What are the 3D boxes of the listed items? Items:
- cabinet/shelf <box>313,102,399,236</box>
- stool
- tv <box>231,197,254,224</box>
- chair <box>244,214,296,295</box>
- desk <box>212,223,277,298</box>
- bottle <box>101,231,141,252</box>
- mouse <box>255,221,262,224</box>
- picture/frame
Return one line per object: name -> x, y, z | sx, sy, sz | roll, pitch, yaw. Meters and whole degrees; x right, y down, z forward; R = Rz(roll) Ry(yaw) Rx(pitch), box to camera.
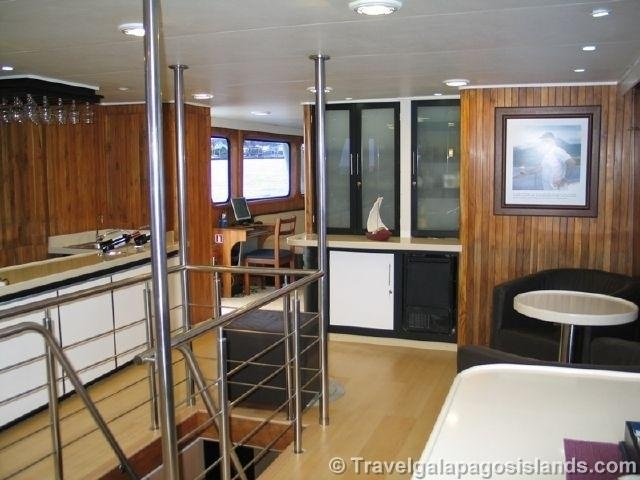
cabinet/shelf -> 0.463, -0.774, 5.437 | 0.785, 1.405, 0.241 | 0, 9, 7
stool -> -0.375, 0.883, 3.895 | 0.835, 0.745, 0.796 | 0, 4, 9
tv -> -1.208, -0.454, 7.718 | 0.179, 0.432, 0.456 | -7, 2, 22
chair -> -0.741, 0.204, 7.453 | 0.836, 1.032, 0.802 | -3, 7, -12
desk -> -1.152, 0.252, 7.397 | 0.672, 0.956, 1.035 | 2, 9, 20
bottle -> -1.881, 0.011, 4.745 | 0.208, 0.082, 0.379 | 1, 16, 35
mouse -> -0.959, -0.292, 7.909 | 0.082, 0.022, 0.079 | 2, 1, 7
picture/frame -> 2.100, -0.752, 4.577 | 1.123, 1.199, 0.053 | 0, 2, 17
